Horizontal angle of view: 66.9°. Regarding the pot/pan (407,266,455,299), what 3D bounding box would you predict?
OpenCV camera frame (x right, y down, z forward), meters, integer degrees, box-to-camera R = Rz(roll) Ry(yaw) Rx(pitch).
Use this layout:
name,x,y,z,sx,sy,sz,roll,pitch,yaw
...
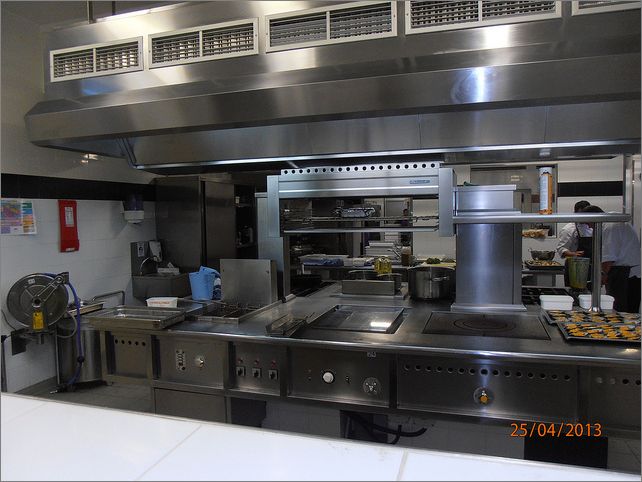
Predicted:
name,x,y,z,sx,sy,sz,roll,pitch,yaw
pot/pan,0.848,0.294,3.755,0.268,0.141,0.289,0,0,30

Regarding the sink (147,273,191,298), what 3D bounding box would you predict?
name,x,y,z,sx,sy,sz,roll,pitch,yaw
sink,-1.809,0.534,5.836,0.394,0.245,0.398,1,1,24

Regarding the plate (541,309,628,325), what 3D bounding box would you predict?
name,x,y,z,sx,sy,sz,roll,pitch,yaw
plate,1.758,0.504,3.185,0.570,0.031,0.357,-2,5,8

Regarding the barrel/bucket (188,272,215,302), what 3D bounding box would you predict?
name,x,y,z,sx,sy,sz,roll,pitch,yaw
barrel/bucket,-0.907,0.355,3.792,0.220,0.229,0.191,-6,6,-28
